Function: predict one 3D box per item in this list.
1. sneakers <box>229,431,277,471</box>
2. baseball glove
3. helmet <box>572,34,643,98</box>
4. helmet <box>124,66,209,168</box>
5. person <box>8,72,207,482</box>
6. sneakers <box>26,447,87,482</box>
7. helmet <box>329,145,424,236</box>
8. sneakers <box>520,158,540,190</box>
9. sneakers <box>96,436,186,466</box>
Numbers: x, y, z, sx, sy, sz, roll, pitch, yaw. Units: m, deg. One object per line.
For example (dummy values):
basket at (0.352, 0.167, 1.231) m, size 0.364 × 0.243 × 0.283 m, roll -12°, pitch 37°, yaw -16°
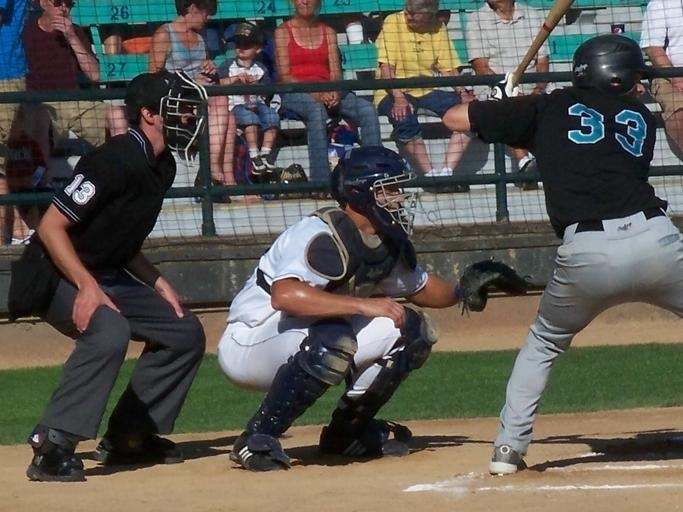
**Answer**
sneakers at (-0.507, 1.133, 7.784) m, size 0.198 × 0.124 × 0.247 m, roll 13°, pitch -12°, yaw -39°
baseball glove at (0.905, 0.194, 7.941) m, size 0.388 × 0.163 × 0.285 m, roll -2°, pitch 1°, yaw -7°
helmet at (1.546, -1.074, 7.804) m, size 0.414 × 0.289 × 0.289 m, roll 10°, pitch -1°, yaw -3°
helmet at (-0.980, -0.855, 8.102) m, size 0.522 × 0.471 × 0.401 m, roll -1°, pitch 5°, yaw 2°
person at (-1.292, 0.114, 7.792) m, size 1.239 × 2.273 × 0.461 m, roll -12°, pitch 15°, yaw -42°
sneakers at (-1.585, 1.169, 7.642) m, size 0.347 × 0.151 × 0.156 m, roll 7°, pitch -1°, yaw 6°
helmet at (0.191, -0.391, 7.808) m, size 0.545 × 0.467 × 0.449 m, roll 3°, pitch 8°, yaw 9°
sneakers at (1.492, -0.663, 10.940) m, size 0.174 × 0.193 × 0.485 m, roll -1°, pitch 5°, yaw -2°
sneakers at (-1.192, 1.131, 8.078) m, size 0.549 × 0.206 × 0.187 m, roll -2°, pitch 5°, yaw -14°
